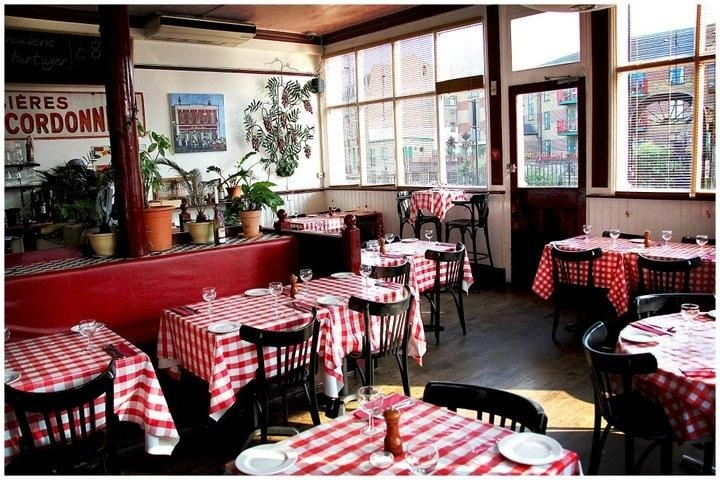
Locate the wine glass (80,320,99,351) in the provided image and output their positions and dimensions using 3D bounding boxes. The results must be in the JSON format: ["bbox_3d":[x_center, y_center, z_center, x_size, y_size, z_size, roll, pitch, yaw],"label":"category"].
[{"bbox_3d":[-1.825,0.652,3.214,0.112,0.164,0.108,19,32,7],"label":"wine glass"}]

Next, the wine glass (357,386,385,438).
[{"bbox_3d":[0.060,0.839,2.376,0.134,0.159,0.214,-3,12,-1],"label":"wine glass"}]

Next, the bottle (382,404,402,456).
[{"bbox_3d":[0.151,0.852,2.225,0.091,0.203,0.226,-2,12,3],"label":"bottle"}]

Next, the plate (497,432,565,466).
[{"bbox_3d":[0.758,0.925,2.120,0.287,0.045,0.187,-2,11,3],"label":"plate"}]

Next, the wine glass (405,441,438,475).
[{"bbox_3d":[0.263,0.926,2.039,0.130,0.093,0.144,-2,12,3],"label":"wine glass"}]

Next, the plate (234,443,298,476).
[{"bbox_3d":[-0.416,0.986,2.139,0.273,0.030,0.208,-7,12,-23],"label":"plate"}]

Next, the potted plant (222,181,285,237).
[{"bbox_3d":[-1.171,-0.367,5.446,0.753,0.594,0.719,-2,6,-9],"label":"potted plant"}]

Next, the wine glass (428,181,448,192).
[{"bbox_3d":[1.328,-0.905,8.026,0.272,0.099,0.272,1,0,40],"label":"wine glass"}]
